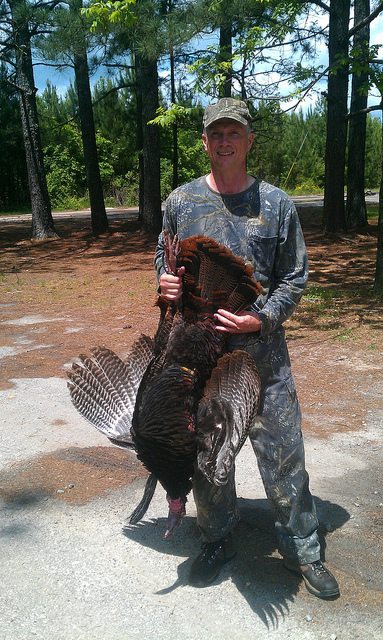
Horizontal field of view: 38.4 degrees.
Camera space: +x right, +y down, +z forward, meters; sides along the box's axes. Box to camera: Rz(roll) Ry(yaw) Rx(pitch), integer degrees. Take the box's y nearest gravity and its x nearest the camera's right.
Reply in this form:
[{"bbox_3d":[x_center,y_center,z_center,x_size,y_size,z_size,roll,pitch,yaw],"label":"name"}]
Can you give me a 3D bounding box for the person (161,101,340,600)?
[{"bbox_3d":[0.268,0.163,2.491,0.910,2.220,0.647,8,15,32],"label":"person"}]
